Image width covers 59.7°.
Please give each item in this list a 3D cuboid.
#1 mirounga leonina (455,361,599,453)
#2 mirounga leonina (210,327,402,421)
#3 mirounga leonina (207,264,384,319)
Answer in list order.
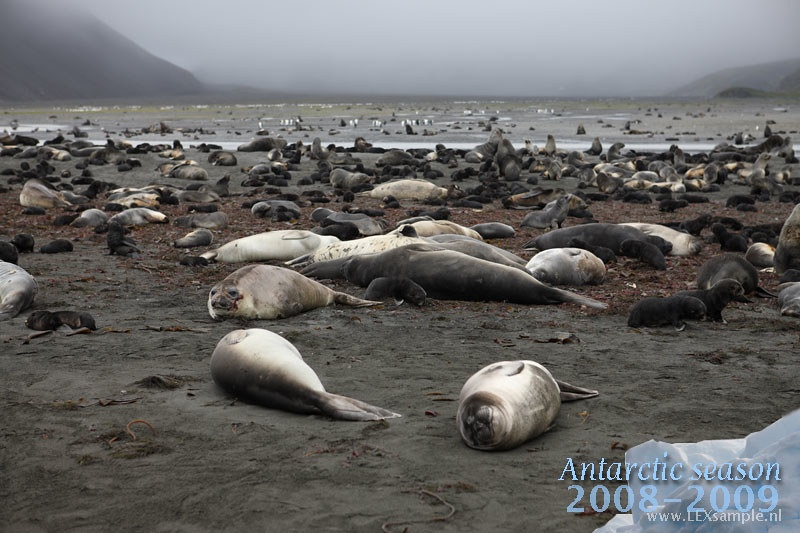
[{"bbox_3d":[0.875,1.055,5.390,0.617,0.269,0.874,-8,4,34],"label":"mirounga leonina"},{"bbox_3d":[-0.888,1.010,5.839,1.588,0.571,0.527,20,-19,34],"label":"mirounga leonina"},{"bbox_3d":[-1.366,0.333,7.818,0.924,0.291,1.383,2,5,44],"label":"mirounga leonina"}]
